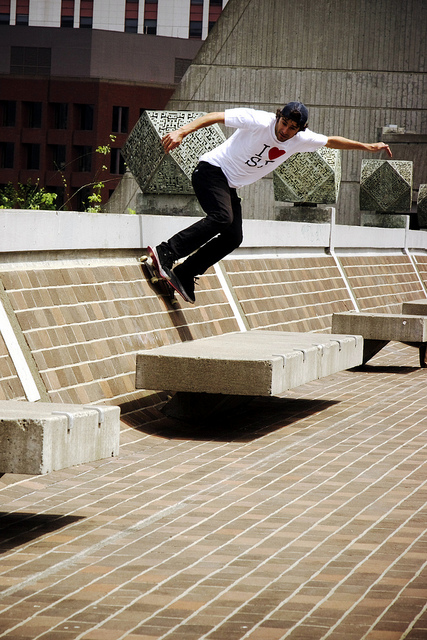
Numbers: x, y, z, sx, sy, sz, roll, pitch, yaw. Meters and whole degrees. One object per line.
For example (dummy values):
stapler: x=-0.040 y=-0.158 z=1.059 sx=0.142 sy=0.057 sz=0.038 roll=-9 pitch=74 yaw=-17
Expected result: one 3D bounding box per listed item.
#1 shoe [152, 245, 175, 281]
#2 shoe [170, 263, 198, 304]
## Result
shoe: x=-0.316 y=-0.394 z=7.751 sx=0.119 sy=0.262 sz=0.092 roll=-20 pitch=-7 yaw=3
shoe: x=-0.198 y=-0.261 z=7.837 sx=0.141 sy=0.314 sz=0.108 roll=-30 pitch=9 yaw=5
